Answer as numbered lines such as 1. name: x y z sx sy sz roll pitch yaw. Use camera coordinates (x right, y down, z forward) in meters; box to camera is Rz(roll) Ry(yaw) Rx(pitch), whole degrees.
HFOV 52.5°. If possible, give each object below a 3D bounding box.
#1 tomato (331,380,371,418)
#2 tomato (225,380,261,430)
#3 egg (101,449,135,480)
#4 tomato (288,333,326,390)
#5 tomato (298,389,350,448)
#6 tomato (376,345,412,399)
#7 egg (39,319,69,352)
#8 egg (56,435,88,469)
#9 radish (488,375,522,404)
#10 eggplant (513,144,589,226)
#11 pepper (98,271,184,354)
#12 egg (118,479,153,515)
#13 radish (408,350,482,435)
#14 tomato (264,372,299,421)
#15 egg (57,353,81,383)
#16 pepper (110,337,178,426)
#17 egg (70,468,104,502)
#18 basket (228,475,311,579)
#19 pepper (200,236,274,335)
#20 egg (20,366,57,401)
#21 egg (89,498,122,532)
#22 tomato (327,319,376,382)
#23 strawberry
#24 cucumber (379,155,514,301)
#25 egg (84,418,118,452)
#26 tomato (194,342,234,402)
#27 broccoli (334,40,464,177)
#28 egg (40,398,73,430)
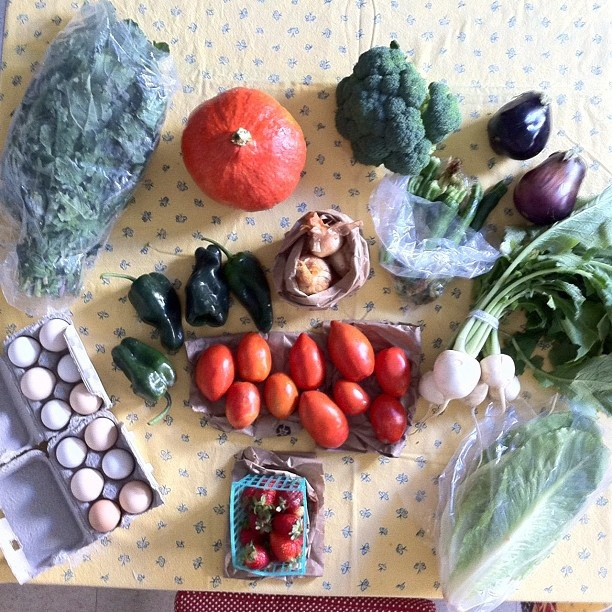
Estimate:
1. tomato: 0.112 0.236 1.597 0.070 0.072 0.096 -45 84 10
2. tomato: -0.165 0.256 1.609 0.088 0.076 0.112 -3 72 -7
3. egg: -0.492 0.416 1.630 0.082 0.047 0.075 3 72 -5
4. tomato: 0.003 0.146 1.633 0.087 0.087 0.139 -8 83 2
5. tomato: 0.042 0.289 1.631 0.102 0.108 0.151 -34 89 6
6. tomato: 0.229 0.176 1.628 0.100 0.087 0.126 4 72 -4
7. egg: -0.649 0.078 1.654 0.072 0.078 0.098 0 92 10
8. egg: -0.616 0.387 1.639 0.076 0.042 0.077 1 72 -6
9. radish: 0.521 0.223 1.619 0.067 0.027 0.077 -1 97 -1
10. eggplant: 0.621 -0.287 1.615 0.141 0.104 0.197 29 98 7
11. pepper: -0.409 -0.005 1.646 0.094 0.159 0.285 -35 94 17
12. egg: -0.440 0.496 1.654 0.075 0.081 0.102 0 91 12
13. radish: 0.416 0.143 1.636 0.106 0.136 0.259 13 56 39
14. tomato: -0.065 0.229 1.588 0.077 0.081 0.115 -5 89 -5
15. egg: -0.615 0.159 1.614 0.066 0.022 0.072 -16 102 -39
16. pepper: -0.419 0.161 1.763 0.270 0.229 0.165 1 46 2
17. egg: -0.566 0.464 1.609 0.075 0.081 0.102 -3 84 11
18. basket: -0.091 0.565 1.655 0.189 0.089 0.278 0 96 6
19. pepper: -0.169 -0.053 1.579 0.122 0.089 0.284 -12 96 20
20. egg: -0.697 0.200 1.667 0.077 0.083 0.107 0 97 9
21. egg: -0.513 0.531 1.616 0.072 0.078 0.098 -1 90 9
22. tomato: 0.110 0.120 1.633 0.119 0.121 0.172 -22 70 -12
23. strawberry: -0.094 0.578 1.609 0.165 0.105 0.204 4 72 -5
24. cucumber: 0.334 -0.201 1.648 0.243 0.444 0.244 -18 46 -18
25. egg: -0.530 0.335 1.617 0.075 0.081 0.101 -3 80 14
26. tomato: -0.239 0.175 1.632 0.118 0.101 0.122 -30 77 -14
27. broccoli: 0.213 -0.486 1.594 0.311 0.244 0.247 43 73 8
28. egg: -0.650 0.277 1.641 0.069 0.074 0.093 -1 100 9
